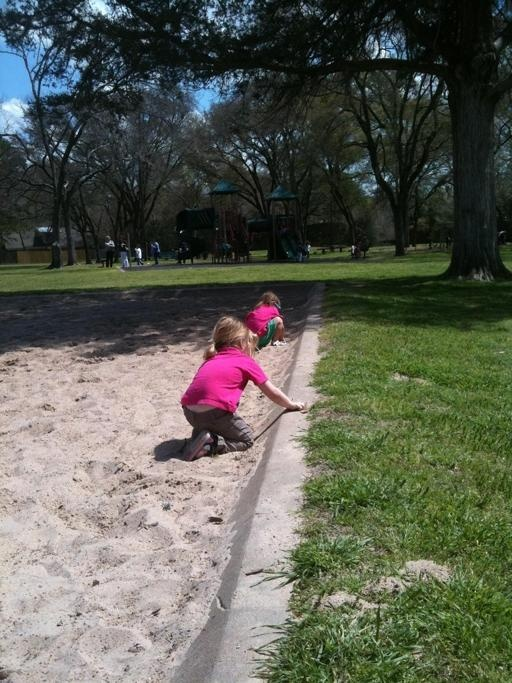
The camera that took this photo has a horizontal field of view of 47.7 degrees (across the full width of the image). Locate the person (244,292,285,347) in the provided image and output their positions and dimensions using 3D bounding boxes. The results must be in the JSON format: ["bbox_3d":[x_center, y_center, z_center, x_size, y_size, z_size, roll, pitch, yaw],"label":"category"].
[{"bbox_3d":[0.165,-0.330,8.362,0.516,0.713,0.513,1,-6,-28],"label":"person"}]

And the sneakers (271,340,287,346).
[{"bbox_3d":[0.330,0.022,8.436,0.250,0.100,0.081,-8,7,27],"label":"sneakers"}]

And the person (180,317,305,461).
[{"bbox_3d":[-0.110,0.445,4.843,1.040,1.156,1.020,5,-11,-11],"label":"person"}]
